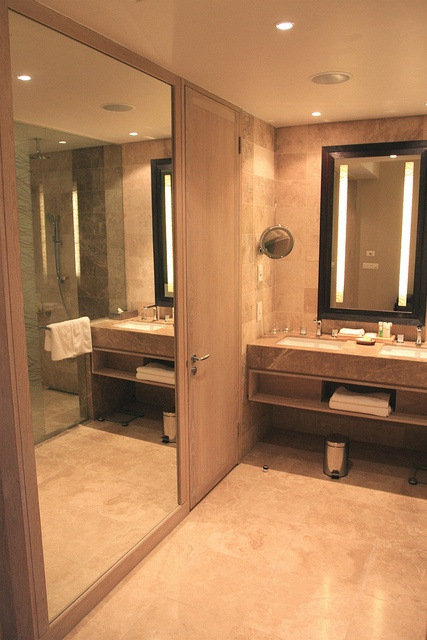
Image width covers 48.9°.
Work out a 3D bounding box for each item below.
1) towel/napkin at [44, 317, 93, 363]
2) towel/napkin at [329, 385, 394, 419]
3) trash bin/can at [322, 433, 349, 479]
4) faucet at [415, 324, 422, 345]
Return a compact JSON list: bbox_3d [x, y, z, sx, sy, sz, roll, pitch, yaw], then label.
[{"bbox_3d":[-0.595,0.080,1.911,0.047,0.110,0.175,4,9,15],"label":"towel/napkin"},{"bbox_3d":[1.069,0.595,3.412,0.415,0.110,0.282,3,7,27],"label":"towel/napkin"},{"bbox_3d":[0.875,0.969,3.334,0.164,0.263,0.174,-12,14,-41],"label":"trash bin/can"},{"bbox_3d":[1.510,0.114,3.455,0.042,0.130,0.148,3,7,23],"label":"faucet"}]
